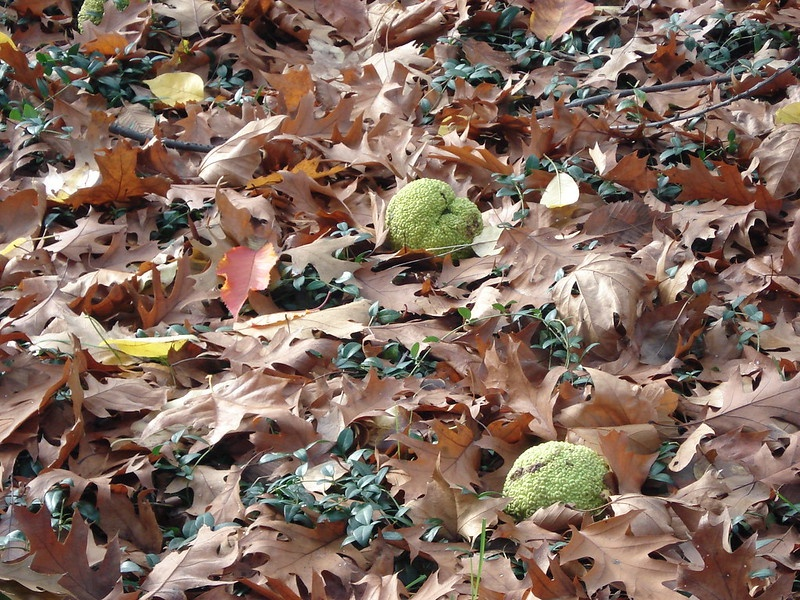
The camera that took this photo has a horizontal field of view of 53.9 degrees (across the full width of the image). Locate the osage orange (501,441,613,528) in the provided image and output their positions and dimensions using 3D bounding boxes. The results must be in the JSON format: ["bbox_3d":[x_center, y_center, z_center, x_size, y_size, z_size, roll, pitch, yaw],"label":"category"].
[{"bbox_3d":[0.507,0.564,2.462,0.395,0.185,0.289,-16,17,21],"label":"osage orange"}]

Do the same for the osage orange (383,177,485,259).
[{"bbox_3d":[0.121,-0.331,3.174,0.357,0.209,0.271,12,51,21],"label":"osage orange"}]
